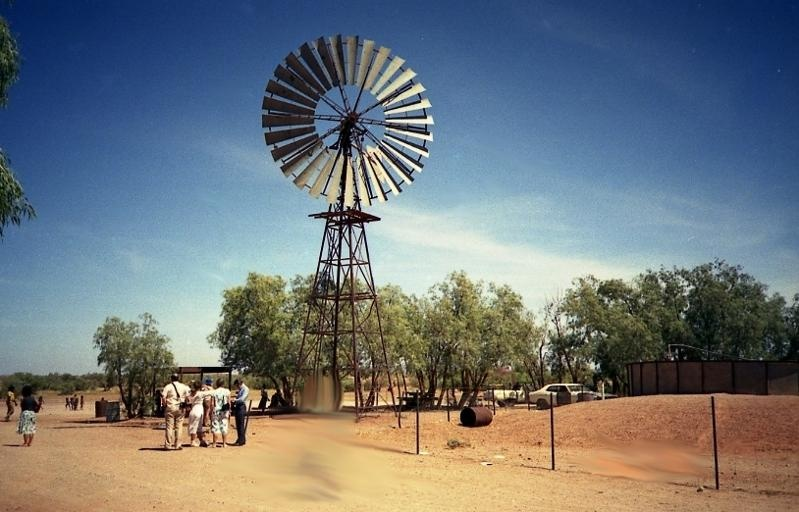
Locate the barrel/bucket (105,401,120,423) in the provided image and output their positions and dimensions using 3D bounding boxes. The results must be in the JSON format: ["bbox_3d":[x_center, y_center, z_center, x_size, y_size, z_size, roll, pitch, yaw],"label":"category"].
[{"bbox_3d":[-24.390,13.204,46.154,0.950,1.233,2.641,5,-4,-31],"label":"barrel/bucket"}]

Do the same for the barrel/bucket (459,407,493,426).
[{"bbox_3d":[5.718,11.932,40.856,1.637,1.719,2.681,1,-2,31],"label":"barrel/bucket"}]
